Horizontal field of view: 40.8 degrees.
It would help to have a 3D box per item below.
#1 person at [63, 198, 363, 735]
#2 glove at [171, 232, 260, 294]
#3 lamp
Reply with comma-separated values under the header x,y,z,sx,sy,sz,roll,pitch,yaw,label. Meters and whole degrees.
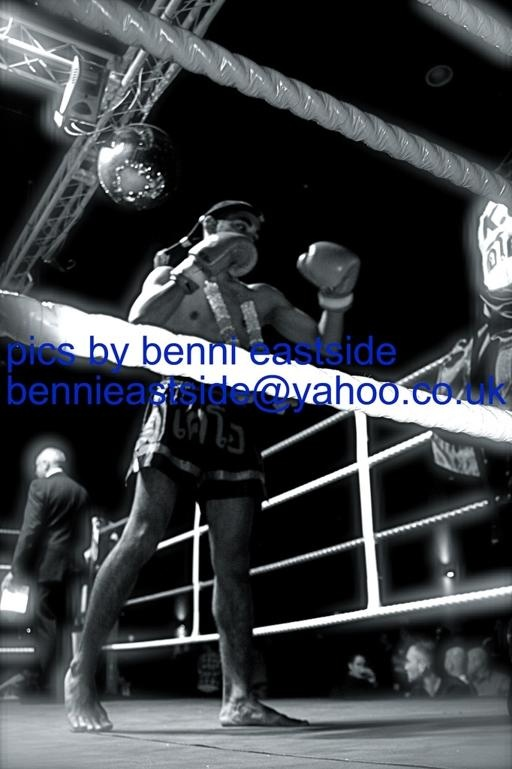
x,y,z,sx,sy,sz,roll,pitch,yaw,label
-0.054,0.117,1.623,0.621,1.271,0.516,18,-10,-41,person
-0.103,-0.287,1.602,0.173,0.076,0.134,-20,-9,17,glove
-0.623,-1.344,3.780,0.420,1.025,0.410,-4,-46,1,lamp
